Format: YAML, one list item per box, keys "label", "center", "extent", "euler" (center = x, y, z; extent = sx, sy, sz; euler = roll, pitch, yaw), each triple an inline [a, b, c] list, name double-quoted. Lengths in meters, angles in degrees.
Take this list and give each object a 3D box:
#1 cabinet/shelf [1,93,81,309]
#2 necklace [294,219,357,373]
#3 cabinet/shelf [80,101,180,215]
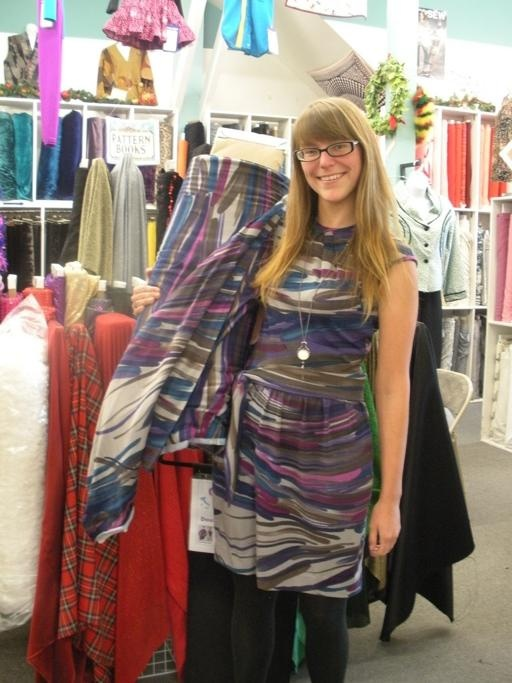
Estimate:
- label: "cabinet/shelf"
  center: [-1.469, -1.033, 4.236]
  extent: [0.550, 1.191, 1.170]
  euler: [1, 9, -13]
- label: "necklace"
  center: [0.137, -0.090, 1.326]
  extent: [0.124, 0.282, 0.146]
  euler: [-2, 10, -26]
- label: "cabinet/shelf"
  center: [-1.010, -1.368, 4.861]
  extent: [1.006, 0.904, 0.339]
  euler: [12, 37, 14]
